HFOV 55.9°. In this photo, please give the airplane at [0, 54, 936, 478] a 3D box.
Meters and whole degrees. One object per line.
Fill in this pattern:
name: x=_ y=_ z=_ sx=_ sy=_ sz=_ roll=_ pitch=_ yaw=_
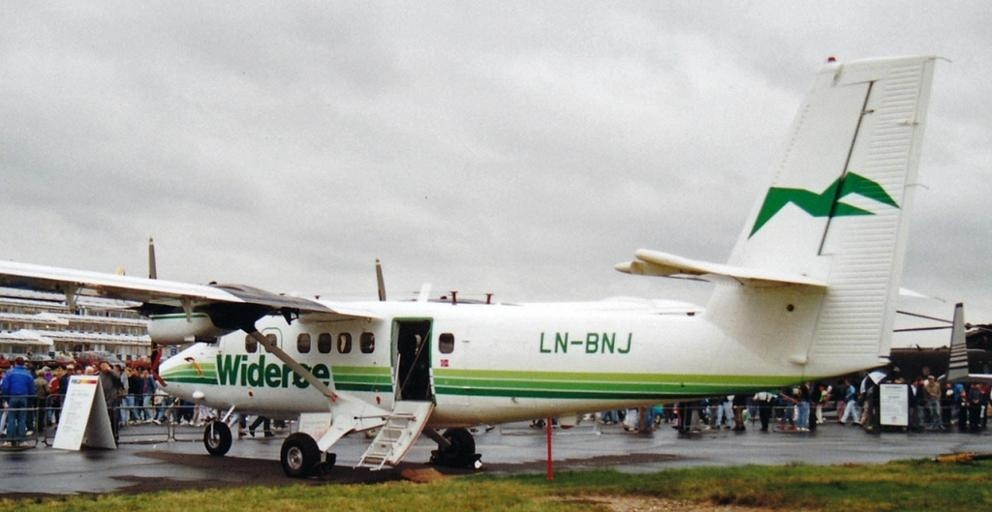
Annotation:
airplane: x=1.705 y=0.707 z=28.880 sx=22.284 sy=12.250 sz=5.329 roll=-2 pitch=-13 yaw=14
